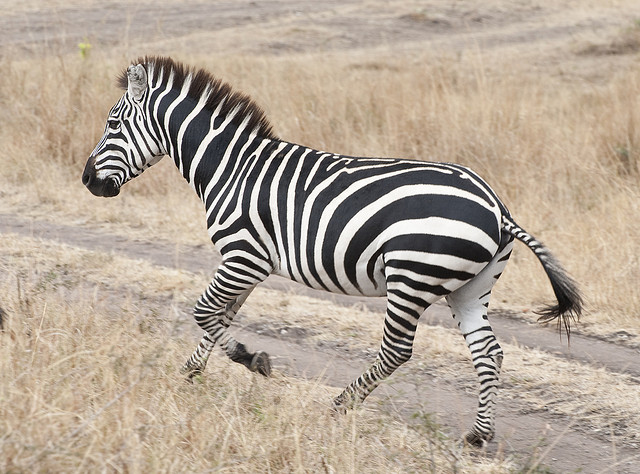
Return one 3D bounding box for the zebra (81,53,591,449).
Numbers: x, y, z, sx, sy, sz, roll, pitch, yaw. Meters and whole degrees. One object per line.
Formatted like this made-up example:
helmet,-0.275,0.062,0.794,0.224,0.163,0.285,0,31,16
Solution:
zebra,0.047,0.027,8.667,5.215,3.017,1.250,11,16,21
